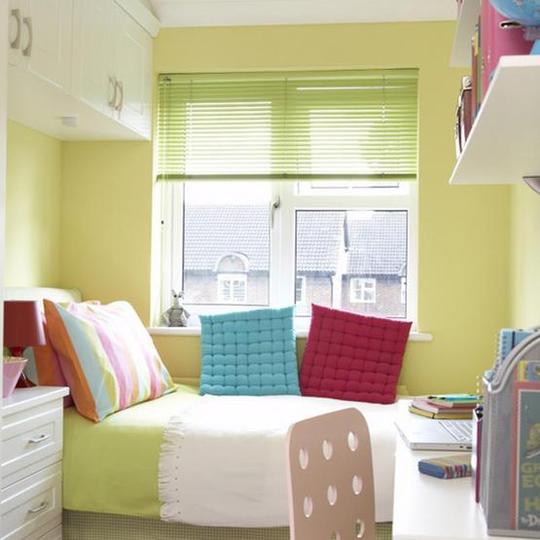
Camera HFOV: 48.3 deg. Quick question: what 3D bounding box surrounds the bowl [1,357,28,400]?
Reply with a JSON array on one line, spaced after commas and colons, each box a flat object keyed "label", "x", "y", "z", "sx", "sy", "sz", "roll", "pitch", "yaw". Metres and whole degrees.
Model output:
[{"label": "bowl", "x": -0.858, "y": 0.366, "z": 2.019, "sx": 0.093, "sy": 0.099, "sz": 0.098, "roll": 0, "pitch": -7, "yaw": 0}]

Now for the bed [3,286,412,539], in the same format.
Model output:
[{"label": "bed", "x": -0.156, "y": 0.510, "z": 2.462, "sx": 1.250, "sy": 0.914, "sz": 0.844, "roll": -1, "pitch": -2, "yaw": 6}]

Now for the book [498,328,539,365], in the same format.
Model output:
[{"label": "book", "x": 0.481, "y": 0.135, "z": 1.161, "sx": 0.087, "sy": 0.081, "sz": 0.056, "roll": 0, "pitch": -2, "yaw": -4}]

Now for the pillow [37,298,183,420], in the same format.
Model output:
[{"label": "pillow", "x": -0.658, "y": 0.345, "z": 2.360, "sx": 0.116, "sy": 0.437, "sz": 0.424, "roll": -24, "pitch": -7, "yaw": 16}]
